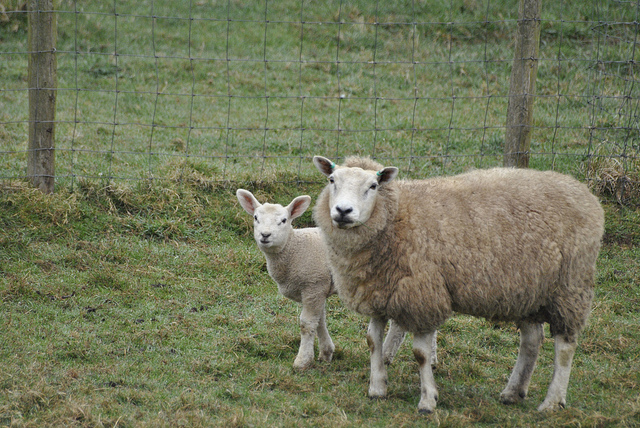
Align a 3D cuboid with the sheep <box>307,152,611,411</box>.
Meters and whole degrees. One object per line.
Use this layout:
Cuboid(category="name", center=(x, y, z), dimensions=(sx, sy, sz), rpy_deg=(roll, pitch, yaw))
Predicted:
Cuboid(category="sheep", center=(1.838, 1.026, 13.039), dimensions=(4.486, 3.457, 2.215), rpy_deg=(0, 5, -16))
